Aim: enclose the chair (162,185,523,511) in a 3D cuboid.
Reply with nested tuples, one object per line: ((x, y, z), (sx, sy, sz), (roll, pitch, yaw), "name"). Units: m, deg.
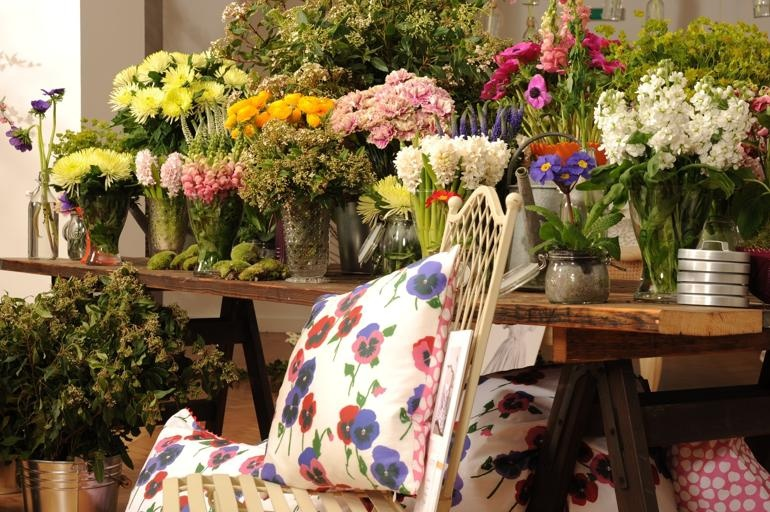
((-0.075, 0.250, 1.515), (0.815, 0.817, 0.503), (-3, 3, -3), "chair")

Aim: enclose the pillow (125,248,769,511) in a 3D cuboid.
((0.291, 0.514, 1.795), (1.205, 0.399, 1.035), (-3, 45, 5), "pillow")
